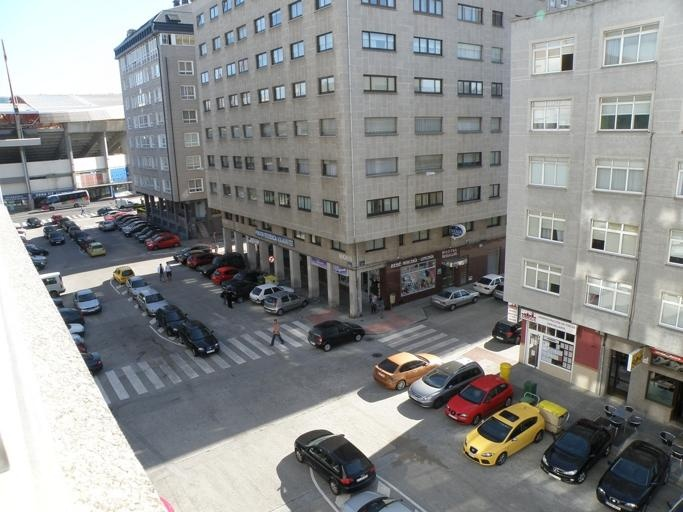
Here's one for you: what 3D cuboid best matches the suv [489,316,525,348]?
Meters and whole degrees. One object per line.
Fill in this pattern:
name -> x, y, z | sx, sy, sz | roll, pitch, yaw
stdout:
suv -> 11.900, 5.303, 33.685 | 1.484, 0.932, 2.315 | 14, 27, 40

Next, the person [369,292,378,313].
person -> 2.704, 3.964, 39.732 | 0.550, 1.568, 0.638 | -6, 19, -4

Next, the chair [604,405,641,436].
chair -> 13.921, 8.260, 23.611 | 1.698, 0.705, 1.566 | -6, 21, -12
